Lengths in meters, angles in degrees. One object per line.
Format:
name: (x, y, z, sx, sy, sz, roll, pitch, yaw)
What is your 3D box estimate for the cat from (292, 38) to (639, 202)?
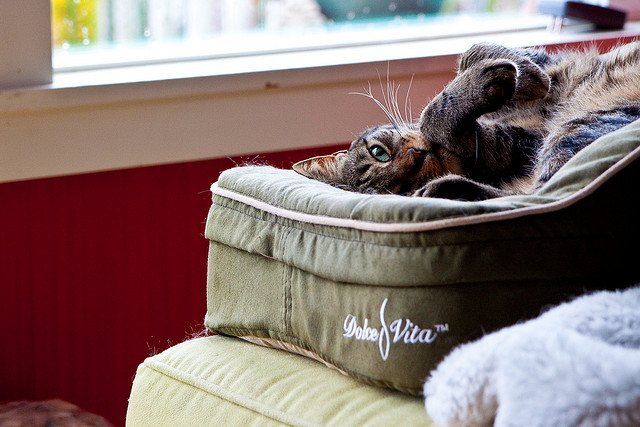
cat: (0.339, -0.164, 1.426, 0.437, 0.147, 0.423, -8, 21, 35)
